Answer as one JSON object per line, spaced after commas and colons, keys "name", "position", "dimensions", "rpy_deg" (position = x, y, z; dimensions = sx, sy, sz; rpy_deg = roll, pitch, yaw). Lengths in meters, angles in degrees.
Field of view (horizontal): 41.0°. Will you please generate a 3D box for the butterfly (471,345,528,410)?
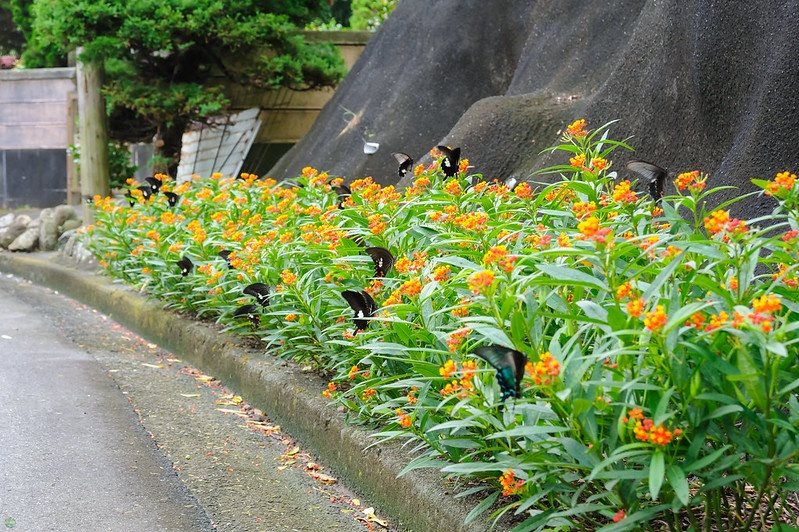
{"name": "butterfly", "position": [0.578, 0.593, 5.743], "dimensions": [0.297, 0.290, 0.141], "rpy_deg": [9, 53, -22]}
